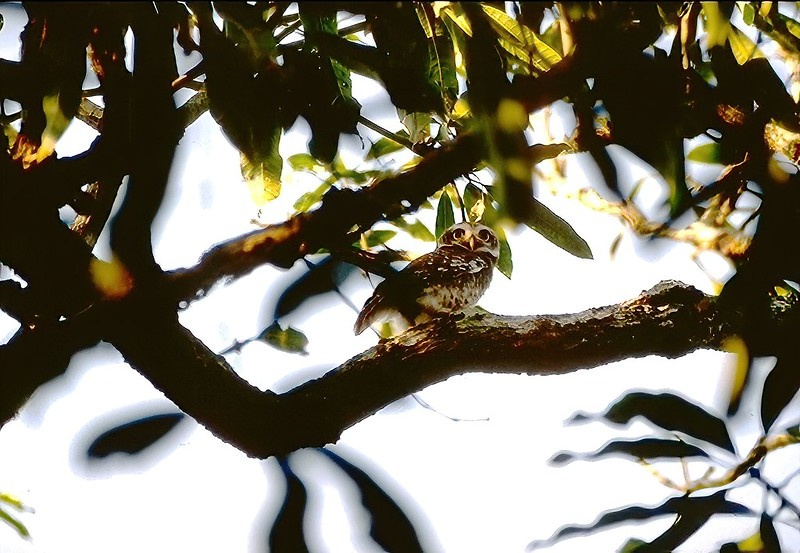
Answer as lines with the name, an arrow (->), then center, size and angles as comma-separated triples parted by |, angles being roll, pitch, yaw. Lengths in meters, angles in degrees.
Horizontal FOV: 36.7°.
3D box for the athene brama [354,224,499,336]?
athene brama -> 0.067, 0.040, 2.841 | 0.329, 0.391, 0.199 | 6, -49, -4
